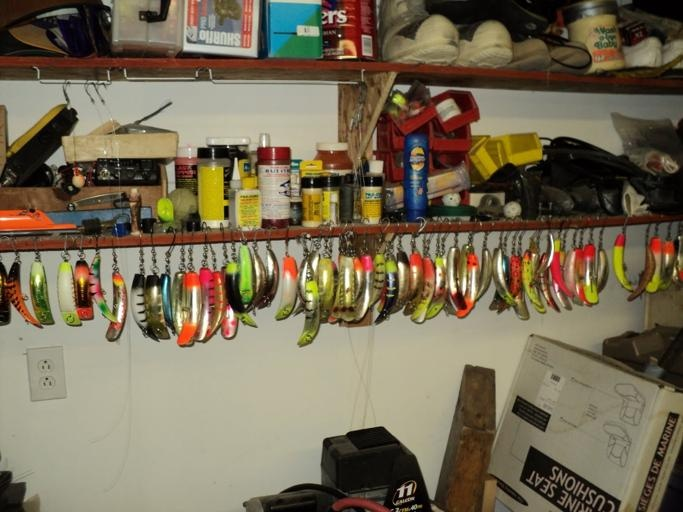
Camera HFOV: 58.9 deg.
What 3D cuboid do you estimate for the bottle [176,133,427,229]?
[{"bbox_3d":[-0.181,-0.202,1.696,0.464,0.206,0.129,-3,6,-24],"label":"bottle"}]
